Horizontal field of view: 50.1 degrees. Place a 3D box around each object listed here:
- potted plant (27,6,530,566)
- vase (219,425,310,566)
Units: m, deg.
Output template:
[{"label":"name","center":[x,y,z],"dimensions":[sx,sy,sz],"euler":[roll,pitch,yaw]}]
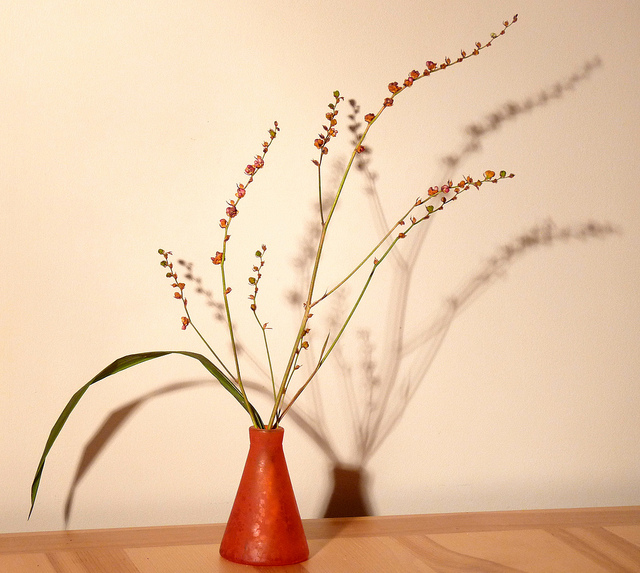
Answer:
[{"label":"potted plant","center":[-0.104,0.020,1.485],"dimensions":[0.682,0.893,1.230],"euler":[-1,-80,-11]},{"label":"vase","center":[-0.080,0.325,1.040],"dimensions":[0.136,0.178,0.149],"euler":[4,-40,-9]}]
